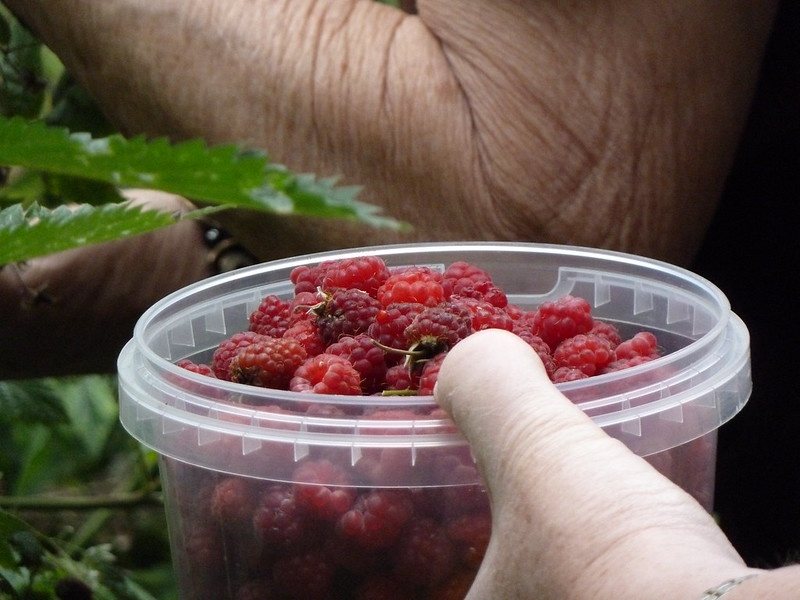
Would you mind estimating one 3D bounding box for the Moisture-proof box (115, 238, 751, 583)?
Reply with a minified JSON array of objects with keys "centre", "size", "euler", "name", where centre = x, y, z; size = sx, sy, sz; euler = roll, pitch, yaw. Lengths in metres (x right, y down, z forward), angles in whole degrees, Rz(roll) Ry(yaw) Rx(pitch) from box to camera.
[{"centre":[0.063,-0.042,1.376],"size":[0.657,0.270,0.633],"euler":[-8,13,-21],"name":"Moisture-proof box"}]
